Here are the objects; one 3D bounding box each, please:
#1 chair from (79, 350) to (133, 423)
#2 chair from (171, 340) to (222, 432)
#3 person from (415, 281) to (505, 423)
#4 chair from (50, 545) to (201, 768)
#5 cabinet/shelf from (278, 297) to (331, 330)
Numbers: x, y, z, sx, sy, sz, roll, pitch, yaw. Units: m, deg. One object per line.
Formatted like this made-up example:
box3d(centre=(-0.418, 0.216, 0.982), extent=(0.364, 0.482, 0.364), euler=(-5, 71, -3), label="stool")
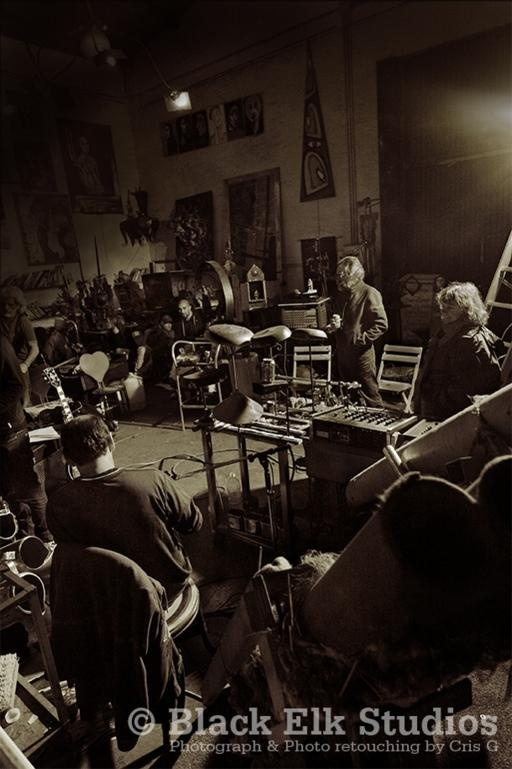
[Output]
box3d(centre=(-1.818, 0.028, 6.860), extent=(0.566, 0.878, 0.513), euler=(5, 15, 41), label="chair")
box3d(centre=(-0.679, 0.008, 6.419), extent=(0.699, 0.993, 0.659), euler=(-1, -3, -44), label="chair")
box3d(centre=(1.196, -0.168, 3.252), extent=(0.460, 0.799, 0.473), euler=(-2, 16, 20), label="person")
box3d(centre=(-0.556, 0.917, 2.060), extent=(0.481, 0.704, 0.327), euler=(3, 11, 16), label="chair")
box3d(centre=(0.591, -0.840, 6.493), extent=(0.600, 0.378, 0.616), euler=(3, 16, 26), label="cabinet/shelf")
